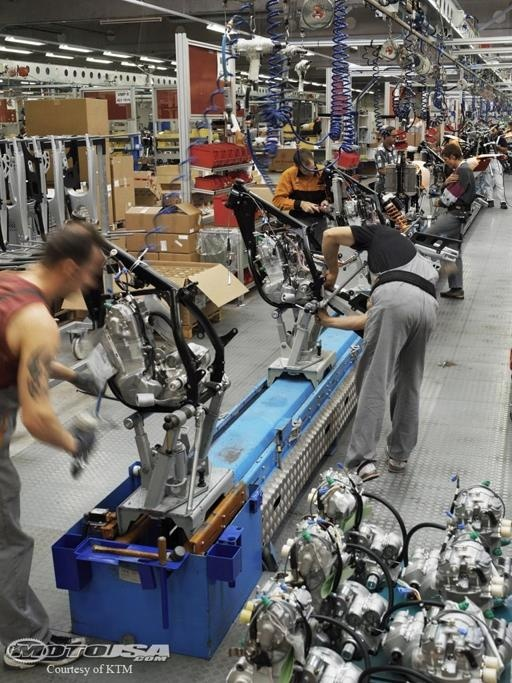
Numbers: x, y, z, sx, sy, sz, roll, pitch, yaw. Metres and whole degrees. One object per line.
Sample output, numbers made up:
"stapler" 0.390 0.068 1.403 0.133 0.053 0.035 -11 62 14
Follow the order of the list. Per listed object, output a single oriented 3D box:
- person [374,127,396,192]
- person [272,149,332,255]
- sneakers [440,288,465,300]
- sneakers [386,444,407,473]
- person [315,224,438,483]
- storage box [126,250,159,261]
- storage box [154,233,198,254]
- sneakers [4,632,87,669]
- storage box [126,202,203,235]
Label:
"person" 1.827 -2.607 7.347 0.263 0.918 0.580 1 13 13
"person" 0.504 -1.653 5.695 0.630 0.878 0.644 0 13 6
"sneakers" 2.840 -0.697 7.417 0.328 0.223 0.128 13 27 29
"sneakers" 0.914 0.796 3.378 0.081 0.085 0.213 0 0 9
"person" 0.784 0.091 3.207 0.681 1.598 0.617 -2 13 0
"storage box" -1.498 -1.134 6.795 0.277 0.117 0.604 -10 16 -36
"storage box" -1.033 -1.254 6.632 0.569 0.268 0.202 -3 13 -7
"sneakers" -0.785 1.146 1.907 0.239 0.073 0.151 1 2 -30
"storage box" -1.215 -1.613 6.788 0.762 0.372 1.201 -10 15 -35
